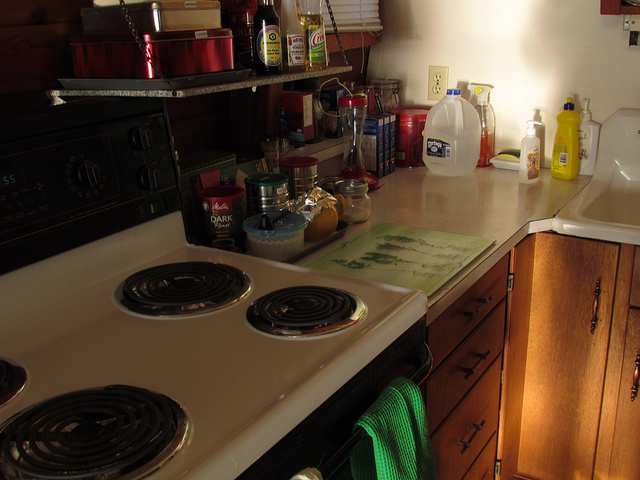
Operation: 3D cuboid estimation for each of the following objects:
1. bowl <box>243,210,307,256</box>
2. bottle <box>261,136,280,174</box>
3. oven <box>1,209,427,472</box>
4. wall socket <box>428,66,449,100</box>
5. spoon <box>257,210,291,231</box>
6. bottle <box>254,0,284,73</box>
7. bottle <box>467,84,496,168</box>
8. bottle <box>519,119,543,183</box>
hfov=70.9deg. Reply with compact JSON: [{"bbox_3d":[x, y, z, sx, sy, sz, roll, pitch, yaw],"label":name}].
[{"bbox_3d":[-0.124,-0.020,1.282,0.167,0.121,0.184,-2,18,4],"label":"bowl"},{"bbox_3d":[-0.168,-0.292,1.558,0.060,0.124,0.063,-3,24,1],"label":"bottle"},{"bbox_3d":[-0.215,0.188,0.843,0.364,0.276,0.465,12,28,22],"label":"oven"},{"bbox_3d":[0.574,-0.764,2.192,0.100,0.152,0.039,6,25,19],"label":"wall socket"},{"bbox_3d":[-0.122,-0.053,1.205,0.029,0.032,0.084,1,21,36],"label":"spoon"},{"bbox_3d":[-0.150,-0.567,1.257,0.072,0.185,0.055,-4,24,-1],"label":"bottle"},{"bbox_3d":[0.767,-0.550,2.147,0.149,0.374,0.141,-6,33,4],"label":"bottle"},{"bbox_3d":[0.926,-0.395,1.961,0.092,0.241,0.277,8,26,24],"label":"bottle"}]
